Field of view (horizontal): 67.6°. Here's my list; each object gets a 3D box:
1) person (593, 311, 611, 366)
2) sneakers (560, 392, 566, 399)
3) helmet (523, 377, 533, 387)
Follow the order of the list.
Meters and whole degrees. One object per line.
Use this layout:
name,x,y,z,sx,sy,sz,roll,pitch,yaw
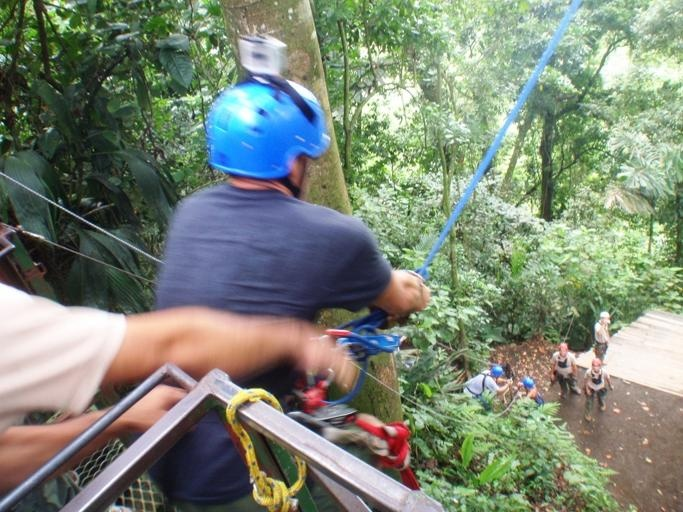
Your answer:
person,5.869,1.872,11.487,0.361,0.517,1.252,5,-41,27
sneakers,4.731,2.962,10.873,0.040,0.147,0.097,6,-9,-36
helmet,3.208,2.143,8.729,0.142,0.119,0.147,13,-17,-19
